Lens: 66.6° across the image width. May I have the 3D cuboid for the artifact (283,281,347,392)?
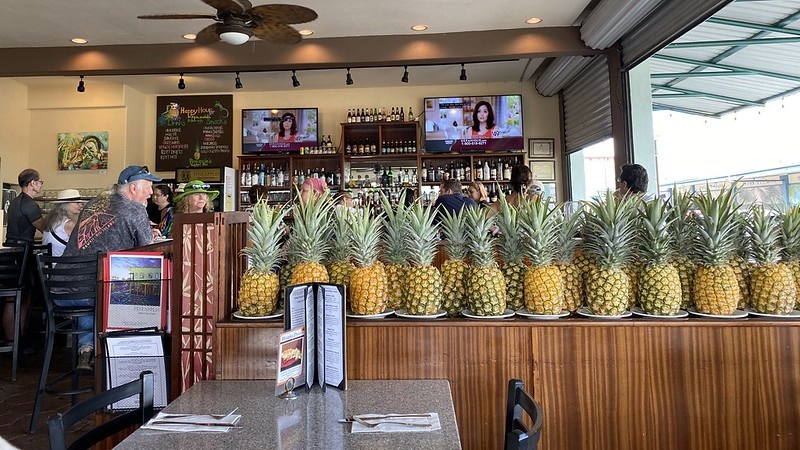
[{"bbox_3d":[-0.674,0.891,4.849,0.473,0.843,0.122,0,-1,-3],"label":"artifact"}]

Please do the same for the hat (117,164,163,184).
[{"bbox_3d":[-2.850,-0.545,6.660,0.410,0.151,0.251,-1,7,-25],"label":"hat"}]

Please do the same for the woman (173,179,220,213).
[{"bbox_3d":[-2.573,-0.326,7.735,0.727,0.237,0.722,-2,-7,-26],"label":"woman"}]

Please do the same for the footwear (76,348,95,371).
[{"bbox_3d":[-3.271,1.395,6.332,0.179,0.198,0.514,5,-7,-39],"label":"footwear"}]

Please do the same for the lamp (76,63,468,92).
[{"bbox_3d":[-1.937,-2.496,10.487,6.011,0.252,0.958,0,2,3],"label":"lamp"}]

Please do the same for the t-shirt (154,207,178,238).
[{"bbox_3d":[-2.881,-0.026,7.487,0.333,0.401,1.010,1,-2,-15],"label":"t-shirt"}]
